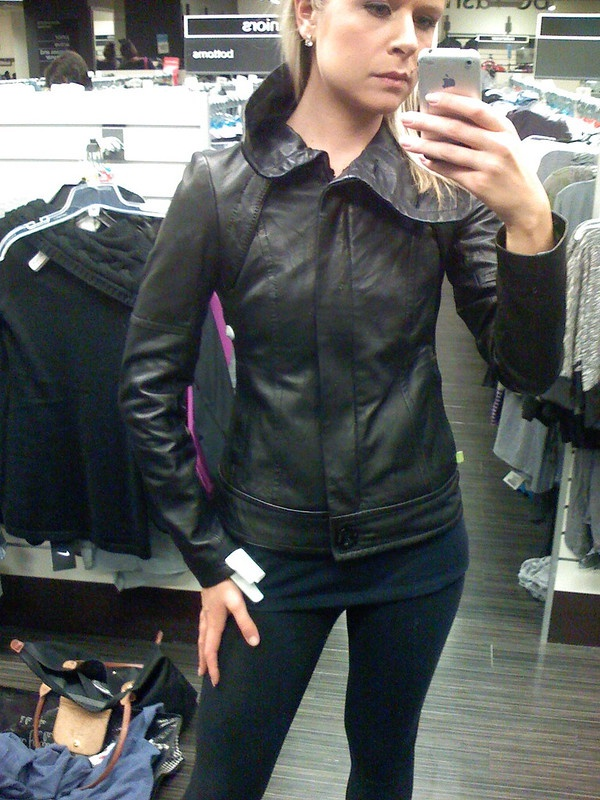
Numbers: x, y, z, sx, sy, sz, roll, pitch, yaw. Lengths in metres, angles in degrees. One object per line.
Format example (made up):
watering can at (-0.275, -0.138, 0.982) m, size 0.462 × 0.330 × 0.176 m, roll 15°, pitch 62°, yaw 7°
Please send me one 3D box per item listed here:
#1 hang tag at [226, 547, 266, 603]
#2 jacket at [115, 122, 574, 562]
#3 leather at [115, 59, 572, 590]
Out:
hang tag at (-0.071, 0.222, 0.862) m, size 0.043 × 0.072 × 0.017 m, roll -38°, pitch 2°, yaw -9°
jacket at (0.008, -0.054, 0.869) m, size 0.459 × 0.550 × 0.191 m, roll 4°, pitch 16°, yaw 7°
leather at (0.068, -0.081, 0.884) m, size 0.624 × 0.605 × 0.317 m, roll -2°, pitch 18°, yaw 8°
